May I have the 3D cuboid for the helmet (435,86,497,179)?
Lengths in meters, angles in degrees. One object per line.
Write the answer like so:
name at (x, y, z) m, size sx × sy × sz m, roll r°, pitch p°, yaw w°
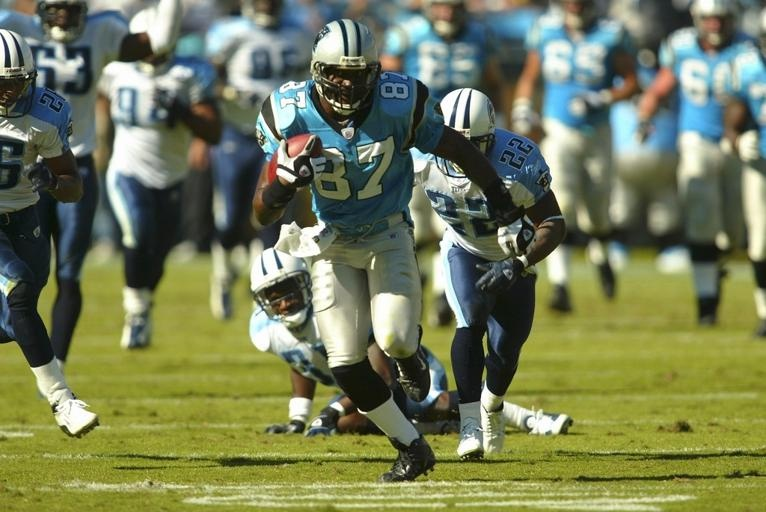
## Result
helmet at (0.504, -0.758, 6.792) m, size 0.360 × 0.503 × 0.391 m, roll 1°, pitch -29°, yaw 16°

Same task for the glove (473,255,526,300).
glove at (0.671, 0.106, 6.574) m, size 0.185 × 0.261 × 0.111 m, roll 45°, pitch 9°, yaw -2°

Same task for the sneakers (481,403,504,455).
sneakers at (0.649, 1.047, 6.938) m, size 0.110 × 0.351 × 0.139 m, roll -3°, pitch 7°, yaw 4°

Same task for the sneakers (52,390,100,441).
sneakers at (-1.777, 0.937, 6.642) m, size 0.234 × 0.283 × 0.332 m, roll -3°, pitch 7°, yaw -20°

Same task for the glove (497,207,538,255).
glove at (0.779, -0.138, 6.620) m, size 0.194 × 0.253 × 0.269 m, roll -5°, pitch 13°, yaw 0°

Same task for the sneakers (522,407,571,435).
sneakers at (1.050, 1.041, 7.381) m, size 0.336 × 0.153 × 0.129 m, roll -3°, pitch 45°, yaw 25°

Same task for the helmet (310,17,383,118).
helmet at (-0.201, -1.016, 6.246) m, size 0.363 × 0.481 × 0.499 m, roll -1°, pitch 21°, yaw -6°

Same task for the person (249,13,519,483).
person at (-0.047, -0.031, 6.455) m, size 1.279 × 2.526 × 0.452 m, roll -2°, pitch 6°, yaw -7°
